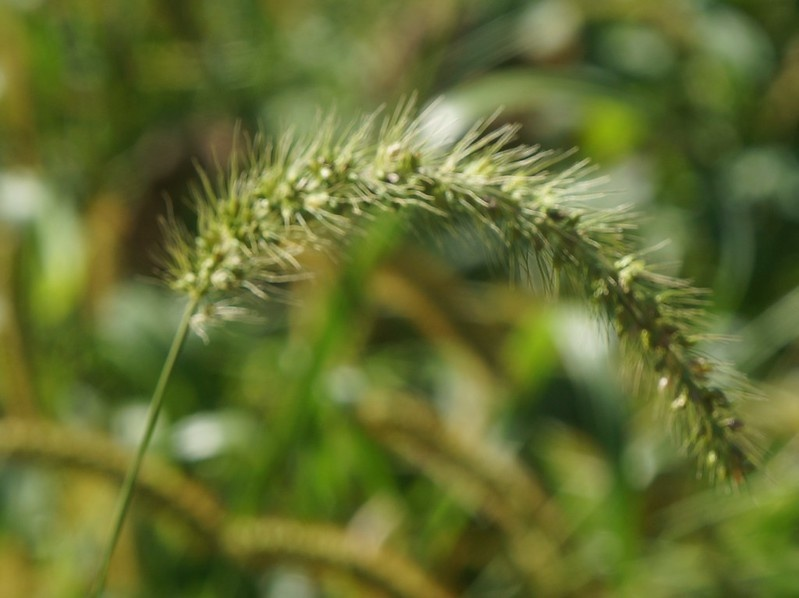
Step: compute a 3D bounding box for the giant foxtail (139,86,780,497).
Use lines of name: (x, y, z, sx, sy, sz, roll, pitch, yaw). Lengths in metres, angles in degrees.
giant foxtail: (0.070, -0.071, 1.153, 0.672, 0.228, 0.490, -20, 91, 1)
